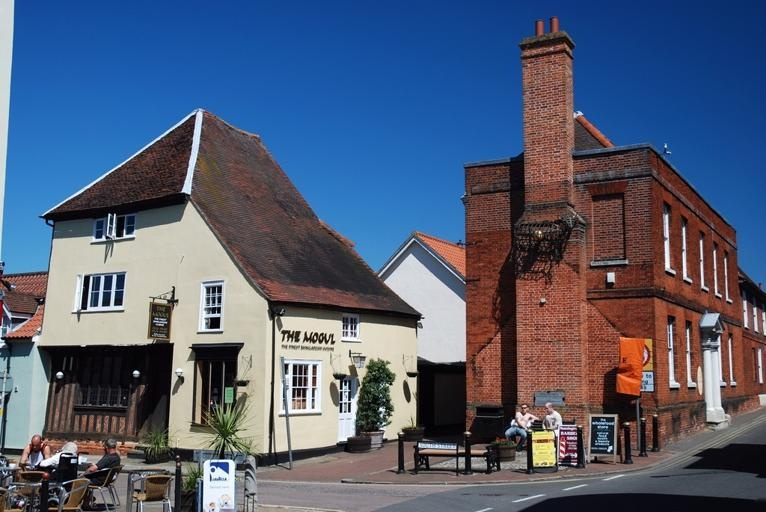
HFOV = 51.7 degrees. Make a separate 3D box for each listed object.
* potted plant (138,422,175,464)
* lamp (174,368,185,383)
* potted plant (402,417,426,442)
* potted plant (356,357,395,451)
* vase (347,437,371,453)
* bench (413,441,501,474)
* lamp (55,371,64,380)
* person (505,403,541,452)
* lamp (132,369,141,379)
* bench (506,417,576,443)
[{"bbox_3d":[-8.852,7.368,30.405,1.063,1.146,1.186,-16,-27,38],"label":"potted plant"},{"bbox_3d":[-8.039,4.713,30.963,0.542,0.589,0.223,-11,-21,30],"label":"lamp"},{"bbox_3d":[1.294,7.776,35.143,1.066,1.136,1.053,2,-15,-7],"label":"potted plant"},{"bbox_3d":[-0.422,6.022,33.273,1.479,3.146,0.821,1,-18,-4],"label":"potted plant"},{"bbox_3d":[-1.039,7.716,32.127,0.693,0.334,0.654,-2,-7,13],"label":"vase"},{"bbox_3d":[2.373,6.909,26.927,2.586,1.101,2.379,9,-20,-28],"label":"bench"},{"bbox_3d":[-13.806,5.106,33.623,0.360,0.361,0.365,-7,-9,35],"label":"lamp"},{"bbox_3d":[5.215,6.413,29.315,1.271,1.892,1.049,13,-6,18],"label":"person"},{"bbox_3d":[-9.991,4.799,31.904,0.328,0.314,0.333,2,1,42],"label":"lamp"},{"bbox_3d":[5.706,6.425,29.122,1.854,0.727,1.353,1,-3,-21],"label":"bench"}]
